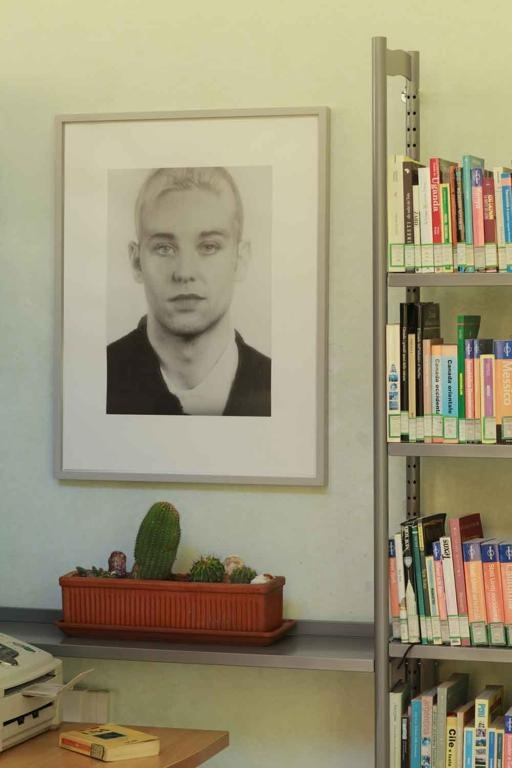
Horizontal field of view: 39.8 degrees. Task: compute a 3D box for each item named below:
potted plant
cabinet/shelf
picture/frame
[{"bbox_3d":[-0.197,0.402,1.520,0.438,0.269,0.175,1,-6,3],"label":"potted plant"},{"bbox_3d":[0.368,-0.015,1.387,0.324,1.414,0.395,-3,-6,10],"label":"cabinet/shelf"},{"bbox_3d":[-0.121,-0.197,1.621,0.880,1.165,0.040,0,-2,9],"label":"picture/frame"}]
